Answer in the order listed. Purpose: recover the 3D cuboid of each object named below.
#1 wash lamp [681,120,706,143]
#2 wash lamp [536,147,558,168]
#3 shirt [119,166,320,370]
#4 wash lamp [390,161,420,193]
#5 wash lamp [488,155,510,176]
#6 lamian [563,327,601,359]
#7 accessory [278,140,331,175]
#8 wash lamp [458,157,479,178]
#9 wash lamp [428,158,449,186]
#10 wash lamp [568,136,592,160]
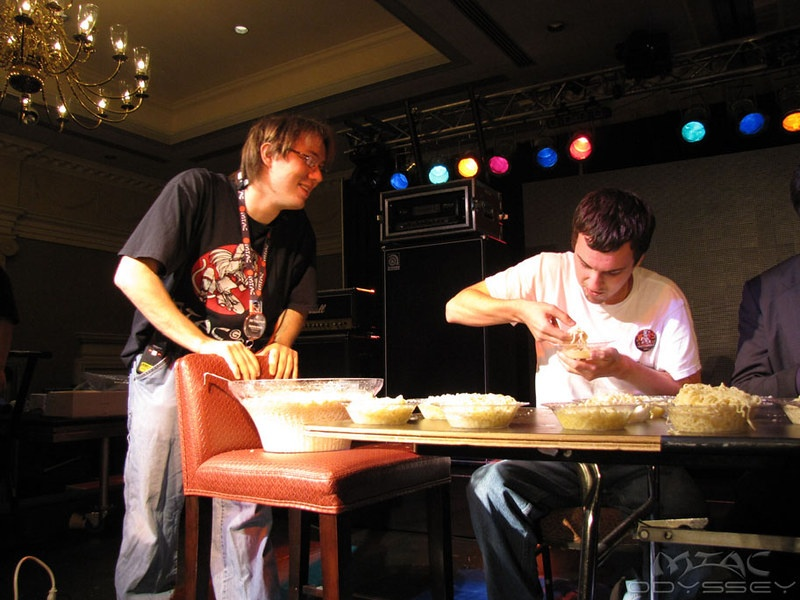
[{"bbox_3d":[2.458,-1.412,5.332,0.167,0.172,0.045,7,20,40],"label":"wash lamp"},{"bbox_3d":[1.323,-1.269,5.709,0.153,0.151,0.141,10,-14,-42],"label":"wash lamp"},{"bbox_3d":[-0.830,-0.018,2.784,0.477,0.880,0.925,-12,-31,24],"label":"shirt"},{"bbox_3d":[0.028,-1.212,6.249,0.259,0.335,0.352,0,-11,-2],"label":"wash lamp"},{"bbox_3d":[0.883,-1.213,5.714,0.172,0.176,0.119,-3,-11,13],"label":"wash lamp"},{"bbox_3d":[0.598,0.139,2.133,0.102,0.058,0.105,-1,2,36],"label":"lamian"},{"bbox_3d":[-0.390,-0.624,2.757,0.139,0.048,0.141,31,10,24],"label":"accessory"},{"bbox_3d":[0.613,-1.192,5.732,0.205,0.149,0.123,-2,-11,11],"label":"wash lamp"},{"bbox_3d":[0.358,-1.184,5.973,0.214,0.177,0.108,-3,-11,16],"label":"wash lamp"},{"bbox_3d":[1.564,-1.311,5.534,0.177,0.182,0.206,11,11,16],"label":"wash lamp"}]
